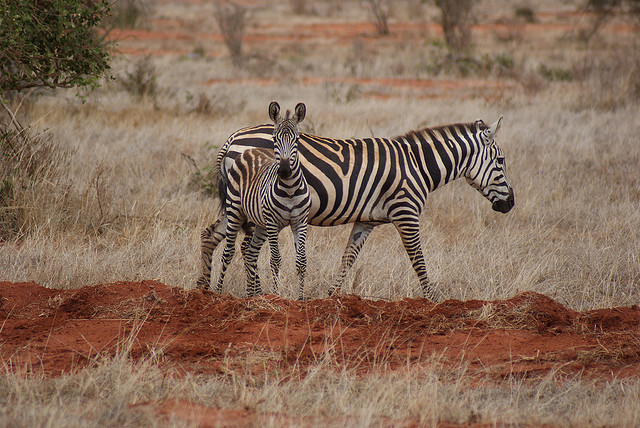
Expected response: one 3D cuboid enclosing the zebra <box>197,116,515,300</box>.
[{"bbox_3d":[0.689,-0.046,16.106,5.600,1.310,3.607,3,96,-8],"label":"zebra"}]
